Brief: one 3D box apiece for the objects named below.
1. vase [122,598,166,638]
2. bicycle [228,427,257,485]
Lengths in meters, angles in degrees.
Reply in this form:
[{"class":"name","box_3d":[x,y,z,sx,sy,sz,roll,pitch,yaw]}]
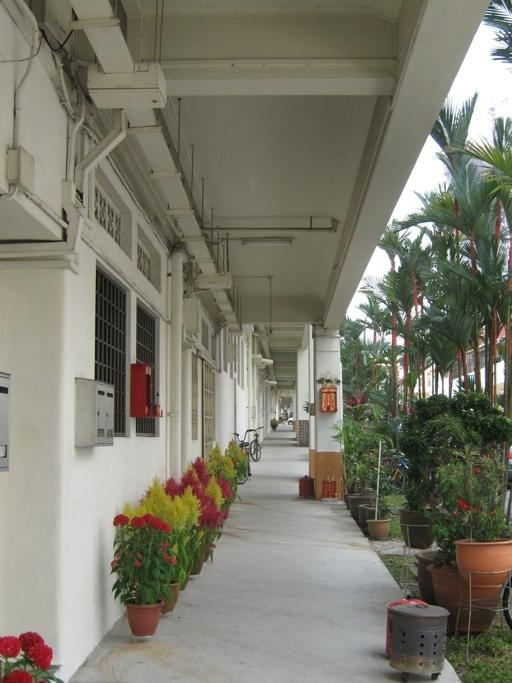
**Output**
[{"class":"vase","box_3d":[-0.666,1.617,2.930,0.185,0.206,0.223,2,-8,-4]},{"class":"bicycle","box_3d":[-0.320,3.384,15.055,0.754,1.370,1.866,-1,-7,4]}]
